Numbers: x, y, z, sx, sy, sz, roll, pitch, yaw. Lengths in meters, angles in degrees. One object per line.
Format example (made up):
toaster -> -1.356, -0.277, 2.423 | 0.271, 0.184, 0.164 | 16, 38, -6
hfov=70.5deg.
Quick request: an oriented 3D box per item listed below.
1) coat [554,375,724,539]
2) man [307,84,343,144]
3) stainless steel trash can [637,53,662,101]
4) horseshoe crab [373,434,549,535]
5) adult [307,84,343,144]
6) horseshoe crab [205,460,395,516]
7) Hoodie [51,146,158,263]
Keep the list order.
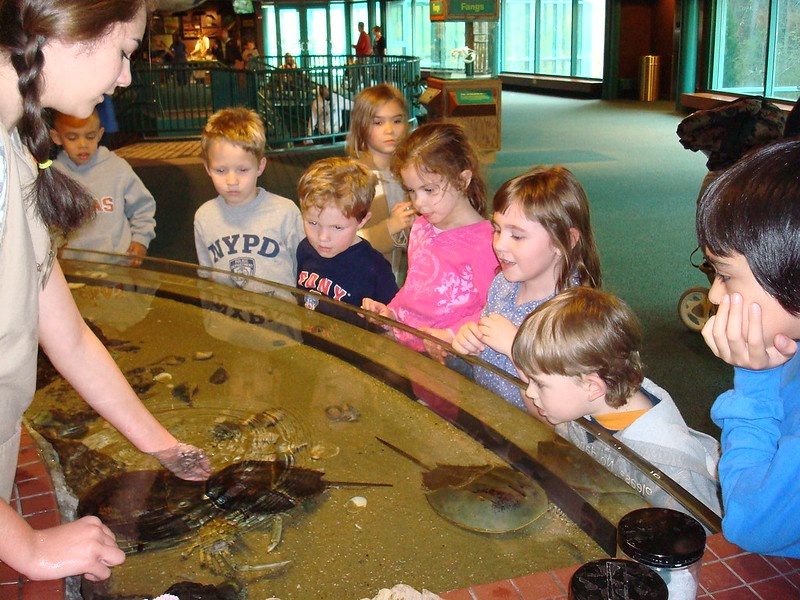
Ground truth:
coat -> 0.623, 0.372, 1.397 | 0.280, 0.196, 0.498 | 14, 8, -33
man -> -1.221, -3.393, 10.026 | 0.201, 0.658, 0.415 | -21, 6, 17
stainless steel trash can -> 7.144, -6.444, 16.255 | 0.724, 1.308, 0.721 | 24, 56, 38
horseshoe crab -> 0.161, 0.418, 1.214 | 0.297, 0.059, 0.177 | 5, 15, 15
adult -> -1.366, -3.307, 10.033 | 0.709, 1.132, 0.342 | -31, 67, -22
horseshoe crab -> -0.259, 0.428, 1.289 | 0.330, 0.031, 0.146 | -2, 18, -4
Hoodie -> -1.995, -0.634, 3.736 | 0.659, 0.816, 0.401 | -12, 54, -34
